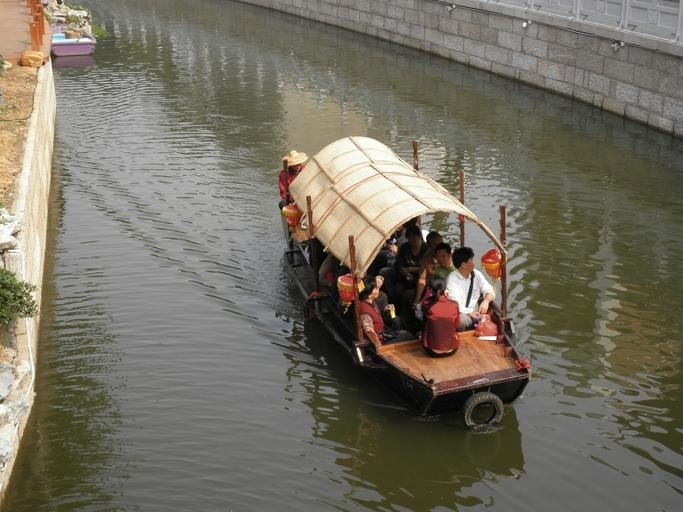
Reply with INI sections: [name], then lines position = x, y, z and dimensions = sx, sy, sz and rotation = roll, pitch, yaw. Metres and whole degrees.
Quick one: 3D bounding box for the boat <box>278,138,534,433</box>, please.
[boat]
position = 0.951, 0.061, 15.949
dimensions = 3.044, 2.340, 6.253
rotation = -20, 43, -19
